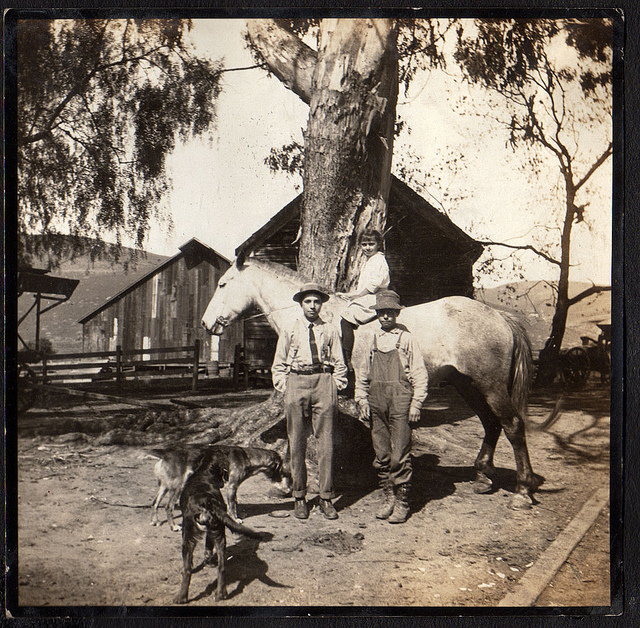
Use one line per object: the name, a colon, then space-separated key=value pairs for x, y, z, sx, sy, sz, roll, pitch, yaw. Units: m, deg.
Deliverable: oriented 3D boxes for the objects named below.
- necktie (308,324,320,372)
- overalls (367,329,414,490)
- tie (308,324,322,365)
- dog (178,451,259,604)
necktie: x=-0.048 y=0.324 z=7.556 sx=0.108 sy=0.391 sz=0.064 roll=-1 pitch=-2 yaw=42
overalls: x=0.706 y=0.891 z=7.703 sx=0.439 sy=1.404 sz=0.496 roll=0 pitch=0 yaw=8
tie: x=-0.041 y=0.292 z=7.557 sx=0.117 sy=0.327 sz=0.063 roll=-1 pitch=-2 yaw=43
dog: x=-0.903 y=1.862 z=6.911 sx=0.544 sy=1.167 sz=0.686 roll=1 pitch=-1 yaw=-11
